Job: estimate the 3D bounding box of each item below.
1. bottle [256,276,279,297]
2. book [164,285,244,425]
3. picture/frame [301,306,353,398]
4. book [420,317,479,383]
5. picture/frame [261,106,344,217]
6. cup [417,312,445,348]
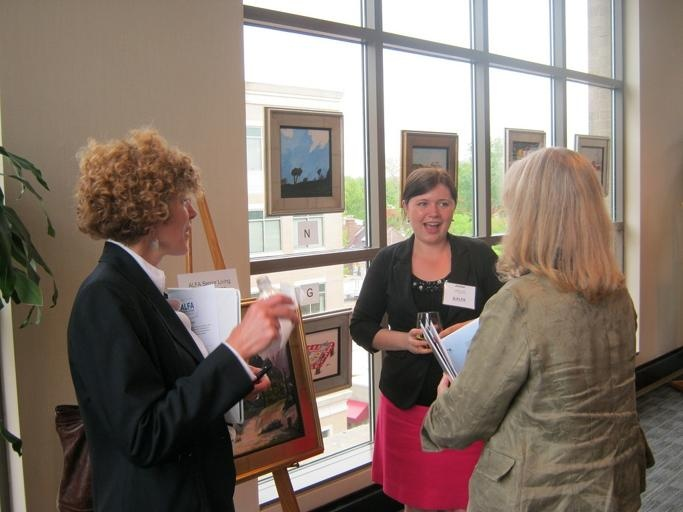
[{"bbox_3d":[-0.266,0.108,2.013,0.068,0.078,0.066,-21,-2,-34],"label":"bottle"},{"bbox_3d":[-0.460,0.365,2.213,0.423,0.482,0.111,-10,-8,43],"label":"book"},{"bbox_3d":[-0.103,0.587,3.547,0.036,0.560,0.525,0,14,43],"label":"picture/frame"},{"bbox_3d":[0.440,0.377,2.324,0.078,0.288,0.200,-11,-13,-21],"label":"book"},{"bbox_3d":[-0.260,-0.597,3.518,0.656,0.738,0.054,-2,4,-38],"label":"picture/frame"},{"bbox_3d":[0.384,0.323,2.485,0.137,0.225,0.135,-1,-7,0],"label":"cup"}]
